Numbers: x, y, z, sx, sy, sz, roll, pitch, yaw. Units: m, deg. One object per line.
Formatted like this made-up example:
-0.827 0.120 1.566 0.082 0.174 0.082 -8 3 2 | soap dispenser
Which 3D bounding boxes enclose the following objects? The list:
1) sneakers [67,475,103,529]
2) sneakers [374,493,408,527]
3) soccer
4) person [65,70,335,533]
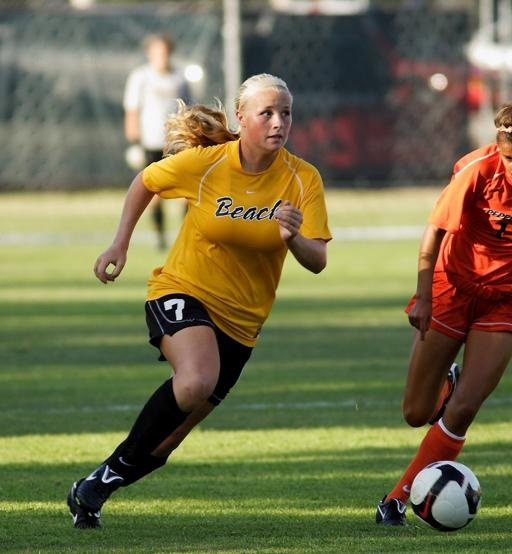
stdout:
-0.597 0.790 3.413 0.101 0.150 0.078 2 10 11 | sneakers
0.495 0.863 3.594 0.112 0.108 0.203 3 8 9 | sneakers
0.672 0.772 3.483 0.300 0.216 0.249 13 -16 -35 | soccer
-0.173 0.059 3.547 0.868 1.591 0.615 2 9 2 | person
